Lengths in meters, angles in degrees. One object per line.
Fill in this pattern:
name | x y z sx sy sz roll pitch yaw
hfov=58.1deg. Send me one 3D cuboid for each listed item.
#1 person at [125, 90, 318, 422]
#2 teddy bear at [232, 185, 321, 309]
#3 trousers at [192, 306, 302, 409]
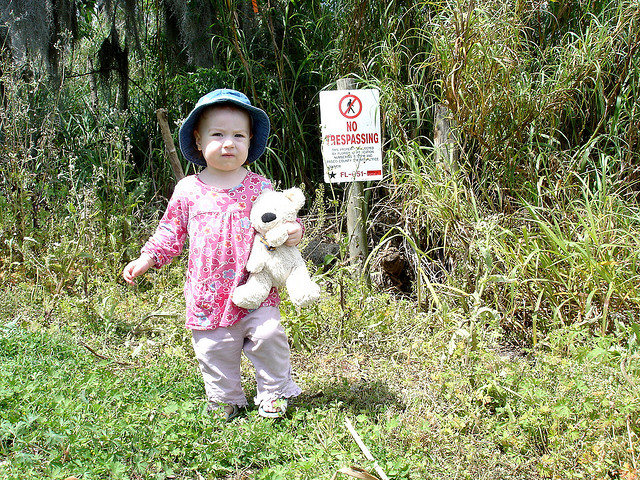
person | -0.467 0.081 3.201 0.850 1.761 0.711 9 18 39
teddy bear | -0.334 -0.034 3.319 0.702 0.689 0.419 -4 15 -43
trousers | -0.393 0.683 3.171 0.562 0.604 0.262 -7 15 -15
